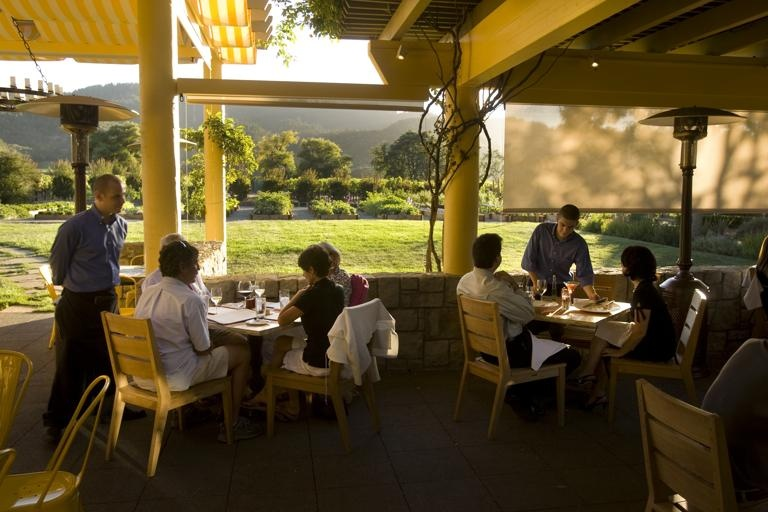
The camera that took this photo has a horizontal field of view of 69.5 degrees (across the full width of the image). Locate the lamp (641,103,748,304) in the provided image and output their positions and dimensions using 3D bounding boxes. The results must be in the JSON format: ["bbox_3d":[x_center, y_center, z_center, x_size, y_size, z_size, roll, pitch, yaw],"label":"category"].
[{"bbox_3d":[3.538,-0.645,6.463,0.919,2.151,1.351,7,13,32],"label":"lamp"}]

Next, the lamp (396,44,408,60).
[{"bbox_3d":[0.217,-2.452,6.645,0.101,0.193,0.140,10,-33,-9],"label":"lamp"}]

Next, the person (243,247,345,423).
[{"bbox_3d":[-0.763,0.732,5.241,0.929,1.647,0.628,4,8,22],"label":"person"}]

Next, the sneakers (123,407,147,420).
[{"bbox_3d":[-2.387,1.511,5.273,0.155,0.060,0.114,3,0,6],"label":"sneakers"}]

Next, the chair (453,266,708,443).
[{"bbox_3d":[1.848,0.787,5.219,2.117,1.117,1.253,-4,6,-20],"label":"chair"}]

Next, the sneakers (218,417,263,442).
[{"bbox_3d":[-1.285,1.565,5.007,0.410,0.195,0.164,-1,4,-23],"label":"sneakers"}]

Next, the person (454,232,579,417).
[{"bbox_3d":[1.291,0.676,5.482,0.999,1.746,0.970,-8,9,-15],"label":"person"}]

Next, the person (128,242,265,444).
[{"bbox_3d":[-1.625,0.767,4.777,0.917,1.782,0.433,-5,13,-26],"label":"person"}]

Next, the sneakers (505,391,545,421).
[{"bbox_3d":[1.392,1.492,5.535,0.162,0.217,0.534,0,-6,-10],"label":"sneakers"}]

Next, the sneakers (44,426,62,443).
[{"bbox_3d":[-2.932,1.589,4.902,0.105,0.134,0.289,3,-15,-15],"label":"sneakers"}]
